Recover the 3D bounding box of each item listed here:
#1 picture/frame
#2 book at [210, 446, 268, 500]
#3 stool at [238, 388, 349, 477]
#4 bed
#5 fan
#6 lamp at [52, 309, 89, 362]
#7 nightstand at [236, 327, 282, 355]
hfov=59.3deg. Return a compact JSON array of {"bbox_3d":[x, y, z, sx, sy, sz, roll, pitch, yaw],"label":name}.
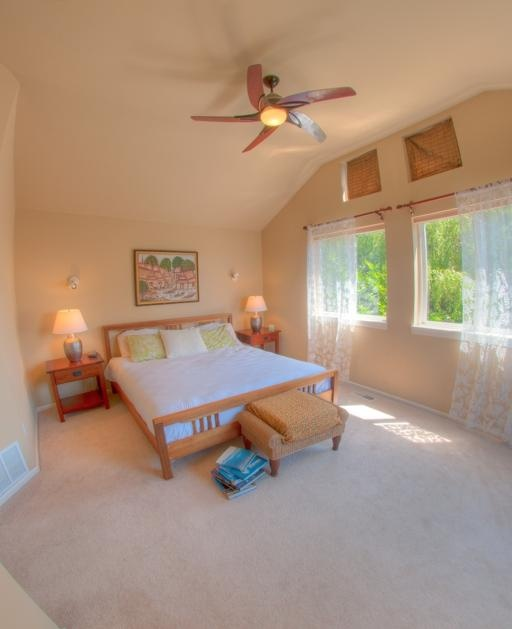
[{"bbox_3d":[-1.059,-0.432,5.104,0.644,0.503,0.026,-9,13,-43],"label":"picture/frame"},{"bbox_3d":[-0.134,1.047,3.022,0.282,0.192,0.345,0,8,37],"label":"book"},{"bbox_3d":[0.196,0.721,3.176,0.646,0.355,0.526,-7,10,-34],"label":"stool"},{"bbox_3d":[-0.630,0.541,3.928,1.302,0.624,1.558,-9,10,-30],"label":"bed"},{"bbox_3d":[0.104,-1.472,3.141,0.921,0.479,1.107,-5,7,-2],"label":"fan"},{"bbox_3d":[-1.778,0.197,4.306,0.286,0.498,0.443,-8,7,-23],"label":"lamp"},{"bbox_3d":[0.031,0.281,5.792,0.463,0.458,0.361,-8,12,-42],"label":"nightstand"}]
